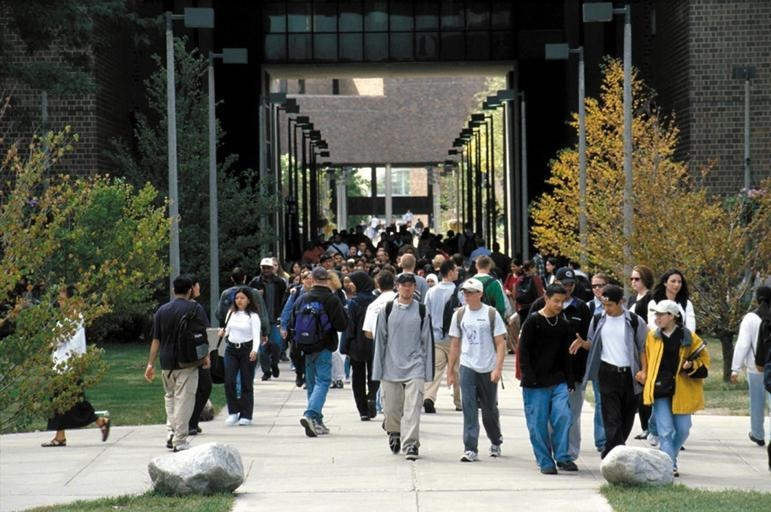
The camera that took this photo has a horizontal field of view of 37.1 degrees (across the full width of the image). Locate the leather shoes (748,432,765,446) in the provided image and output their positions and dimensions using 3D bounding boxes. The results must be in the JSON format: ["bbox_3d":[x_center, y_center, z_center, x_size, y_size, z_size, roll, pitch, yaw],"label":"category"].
[{"bbox_3d":[6.433,3.160,19.942,0.105,0.142,0.327,-14,41,-2],"label":"leather shoes"}]

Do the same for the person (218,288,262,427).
[{"bbox_3d":[-2.742,1.912,21.610,0.647,2.607,0.903,1,-2,-18],"label":"person"}]

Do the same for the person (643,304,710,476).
[{"bbox_3d":[4.512,2.085,17.928,0.974,2.757,0.751,-1,-2,31],"label":"person"}]

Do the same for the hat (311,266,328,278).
[{"bbox_3d":[-1.197,0.323,21.113,0.171,0.213,0.244,3,-5,-5],"label":"hat"}]

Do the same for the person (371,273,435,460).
[{"bbox_3d":[0.303,1.873,19.098,0.940,3.023,0.386,0,-2,25],"label":"person"}]

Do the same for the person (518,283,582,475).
[{"bbox_3d":[2.582,1.972,18.260,0.909,3.012,0.475,1,-2,-4],"label":"person"}]

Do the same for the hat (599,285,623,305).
[{"bbox_3d":[3.598,0.613,18.167,0.231,0.321,0.317,2,11,9],"label":"hat"}]

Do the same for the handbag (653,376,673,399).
[{"bbox_3d":[4.310,2.045,17.835,0.281,0.333,0.164,6,-1,12],"label":"handbag"}]

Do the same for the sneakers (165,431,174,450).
[{"bbox_3d":[-3.691,3.192,19.678,0.133,0.189,0.415,1,-12,-2],"label":"sneakers"}]

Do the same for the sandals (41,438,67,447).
[{"bbox_3d":[-5.820,3.283,20.153,0.356,0.158,0.174,5,-7,7],"label":"sandals"}]

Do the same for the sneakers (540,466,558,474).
[{"bbox_3d":[2.601,3.420,18.253,0.234,0.112,0.108,-3,-1,20],"label":"sneakers"}]

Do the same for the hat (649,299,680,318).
[{"bbox_3d":[4.388,0.847,17.816,0.363,0.158,0.262,8,-1,-9],"label":"hat"}]

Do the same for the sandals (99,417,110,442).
[{"bbox_3d":[-4.974,3.024,20.278,0.187,0.539,0.180,-3,10,-6],"label":"sandals"}]

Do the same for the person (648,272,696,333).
[{"bbox_3d":[4.785,0.782,19.163,0.810,1.360,0.905,1,-9,8],"label":"person"}]

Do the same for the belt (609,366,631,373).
[{"bbox_3d":[3.742,1.824,18.275,0.284,0.095,0.038,0,-2,8],"label":"belt"}]

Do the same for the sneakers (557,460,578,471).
[{"bbox_3d":[2.920,3.366,18.355,0.328,0.152,0.135,-6,-5,45],"label":"sneakers"}]

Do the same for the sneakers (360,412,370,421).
[{"bbox_3d":[-0.379,3.136,22.174,0.177,0.127,0.108,1,-2,-10],"label":"sneakers"}]

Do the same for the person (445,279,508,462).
[{"bbox_3d":[1.506,1.896,18.961,0.913,3.013,0.904,0,-2,3],"label":"person"}]

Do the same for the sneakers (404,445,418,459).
[{"bbox_3d":[0.437,3.270,19.063,0.267,0.264,0.241,1,-2,-11],"label":"sneakers"}]

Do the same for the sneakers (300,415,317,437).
[{"bbox_3d":[-1.415,3.096,20.716,0.171,0.515,0.207,-5,14,33],"label":"sneakers"}]

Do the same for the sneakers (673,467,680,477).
[{"bbox_3d":[4.569,3.425,18.063,0.097,0.127,0.307,-2,-8,5],"label":"sneakers"}]

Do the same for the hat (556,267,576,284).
[{"bbox_3d":[2.975,0.339,19.087,0.209,0.197,0.317,3,0,-8],"label":"hat"}]

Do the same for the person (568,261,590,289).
[{"bbox_3d":[4.637,0.472,27.325,0.589,0.399,0.886,4,-3,2],"label":"person"}]

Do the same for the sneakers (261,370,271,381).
[{"bbox_3d":[-2.828,2.860,27.314,0.231,0.243,0.424,1,-2,-6],"label":"sneakers"}]
